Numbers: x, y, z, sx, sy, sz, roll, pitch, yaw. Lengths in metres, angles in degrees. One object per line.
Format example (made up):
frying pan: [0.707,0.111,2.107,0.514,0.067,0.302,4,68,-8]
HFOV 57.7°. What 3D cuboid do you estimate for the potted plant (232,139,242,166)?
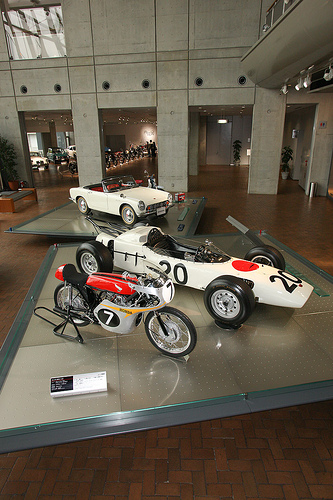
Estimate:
potted plant: [5.766,-7.991,25.060,0.726,2.113,1.506,3,21,12]

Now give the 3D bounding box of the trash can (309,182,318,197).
trash can: [6.495,-2.672,13.545,0.304,0.619,0.429,8,23,23]

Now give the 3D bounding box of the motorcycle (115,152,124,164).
motorcycle: [-4.101,-8.027,26.683,0.613,0.973,1.399,-2,20,-2]

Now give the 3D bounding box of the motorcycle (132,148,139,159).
motorcycle: [-3.348,-10.244,32.469,0.503,1.093,2.023,-1,20,1]

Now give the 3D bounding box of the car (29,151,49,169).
car: [-11.042,-7.730,26.399,1.086,1.474,2.217,-2,20,1]

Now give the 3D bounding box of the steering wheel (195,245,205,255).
steering wheel: [0.495,0.005,4.669,0.033,0.132,0.134,29,-8,26]

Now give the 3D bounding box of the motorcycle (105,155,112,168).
motorcycle: [-4.570,-7.044,24.280,0.452,0.914,1.547,-4,20,-6]

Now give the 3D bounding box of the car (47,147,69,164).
car: [-10.562,-9.292,29.381,1.270,1.064,2.240,-17,40,-31]

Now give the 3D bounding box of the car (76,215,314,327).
car: [0.036,0.298,4.444,3.650,0.792,1.622,13,20,20]

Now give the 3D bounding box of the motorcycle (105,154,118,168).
motorcycle: [-4.507,-7.204,24.637,0.623,0.970,2.265,-1,20,3]

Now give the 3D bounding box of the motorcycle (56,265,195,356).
motorcycle: [-0.560,0.599,3.445,1.882,0.909,0.562,10,13,24]

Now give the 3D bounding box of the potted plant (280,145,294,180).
potted plant: [7.410,-5.379,18.801,0.711,1.945,1.293,6,22,20]

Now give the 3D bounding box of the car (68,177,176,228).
car: [-1.477,-1.743,9.621,3.202,1.089,1.808,17,29,34]

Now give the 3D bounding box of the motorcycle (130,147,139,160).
motorcycle: [-3.421,-10.127,32.004,0.467,1.671,0.685,-27,-1,16]

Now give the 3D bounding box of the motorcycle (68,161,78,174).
motorcycle: [-6.841,-6.047,22.483,0.523,0.850,1.278,-6,21,-11]
